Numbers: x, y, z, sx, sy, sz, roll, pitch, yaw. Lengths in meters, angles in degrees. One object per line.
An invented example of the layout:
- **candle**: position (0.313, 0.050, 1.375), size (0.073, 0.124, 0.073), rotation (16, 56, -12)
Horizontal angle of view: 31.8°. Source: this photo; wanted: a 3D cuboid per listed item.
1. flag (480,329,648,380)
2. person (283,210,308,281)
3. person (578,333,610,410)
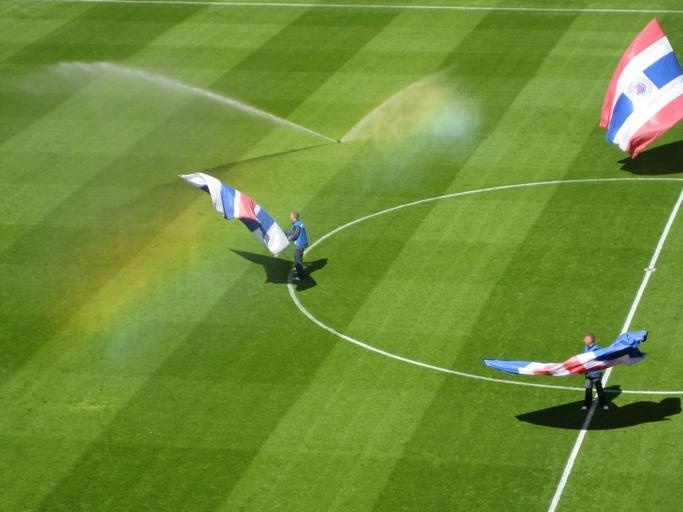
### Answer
- **flag**: position (6.588, 3.192, 36.058), size (5.105, 1.021, 1.645), rotation (-10, 15, 25)
- **person**: position (-1.666, -0.336, 41.970), size (1.133, 2.092, 0.885), rotation (0, 11, 0)
- **person**: position (7.344, 3.536, 36.026), size (0.874, 2.226, 0.875), rotation (-4, -14, 43)
